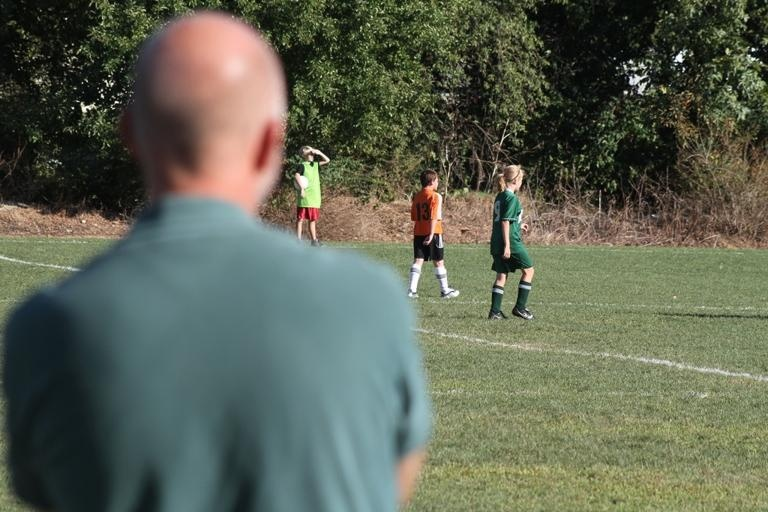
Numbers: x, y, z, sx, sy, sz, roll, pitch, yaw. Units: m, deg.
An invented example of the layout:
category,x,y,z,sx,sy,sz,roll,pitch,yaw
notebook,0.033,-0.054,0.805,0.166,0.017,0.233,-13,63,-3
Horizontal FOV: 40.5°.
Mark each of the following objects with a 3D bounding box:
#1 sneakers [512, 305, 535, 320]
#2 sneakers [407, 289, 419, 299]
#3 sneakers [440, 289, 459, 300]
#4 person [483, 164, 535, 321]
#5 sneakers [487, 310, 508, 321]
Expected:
category,x,y,z,sx,sy,sz,roll,pitch,yaw
sneakers,2.116,0.855,15.895,0.392,0.203,0.143,10,20,-4
sneakers,0.478,0.623,17.133,0.266,0.147,0.346,5,-1,2
sneakers,1.109,0.626,17.315,0.316,0.134,0.151,-5,-37,-3
person,1.936,-0.217,16.002,0.690,2.351,0.867,-2,3,8
sneakers,1.728,0.912,15.818,0.324,0.146,0.113,1,7,-23
